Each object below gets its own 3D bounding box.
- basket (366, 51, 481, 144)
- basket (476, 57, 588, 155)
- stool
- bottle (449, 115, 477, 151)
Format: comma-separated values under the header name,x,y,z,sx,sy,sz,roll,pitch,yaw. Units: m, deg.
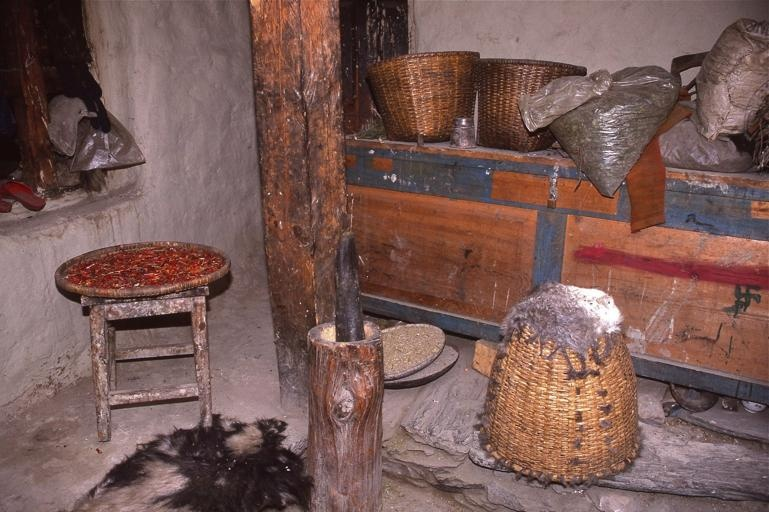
name,x,y,z,sx,sy,sz,roll,pitch,yaw
basket,0.306,-1.240,4.839,0.814,0.541,0.771,1,12,9
basket,1.135,-1.129,4.671,0.797,0.596,0.772,-1,13,-8
stool,-1.717,0.662,4.426,0.872,1.140,0.783,-4,25,-11
bottle,0.609,-0.961,4.579,0.232,0.235,0.223,-19,28,-41
